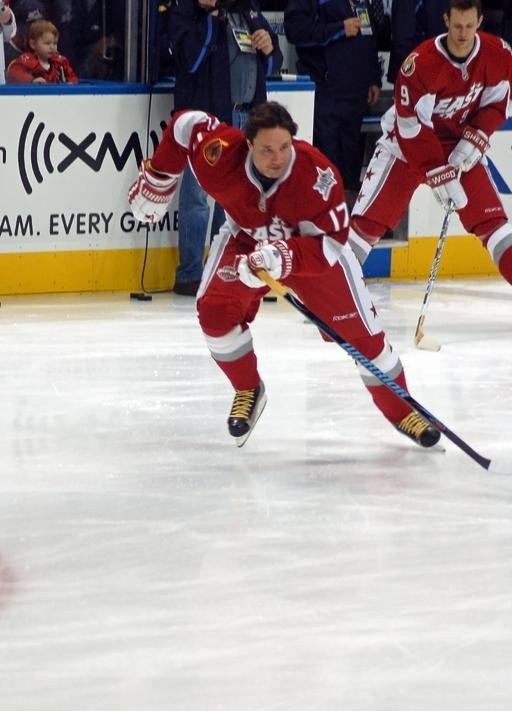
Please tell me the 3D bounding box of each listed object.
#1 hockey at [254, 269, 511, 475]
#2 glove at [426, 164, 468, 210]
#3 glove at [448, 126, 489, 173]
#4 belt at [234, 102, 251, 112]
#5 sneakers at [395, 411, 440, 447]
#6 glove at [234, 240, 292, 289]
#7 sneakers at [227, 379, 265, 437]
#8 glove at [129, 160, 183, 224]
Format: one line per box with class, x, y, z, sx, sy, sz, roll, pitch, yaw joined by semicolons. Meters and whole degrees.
hockey;0.399;0.062;2.597;1.016;0.147;0.112;42;21;-26
glove;0.708;-0.630;2.983;0.126;0.164;0.071;-27;9;21
glove;0.785;-0.766;3.050;0.132;0.177;0.076;40;-10;-9
belt;-0.072;-1.260;4.085;0.070;0.024;0.049;-1;2;-19
sneakers;0.433;0.196;2.138;0.055;0.070;0.117;25;6;-44
glove;0.010;-0.225;2.001;0.115;0.123;0.187;-3;12;-19
sneakers;-0.015;0.139;2.209;0.061;0.082;0.180;-5;39;26
glove;-0.328;-0.493;2.481;0.129;0.203;0.080;31;38;-3
